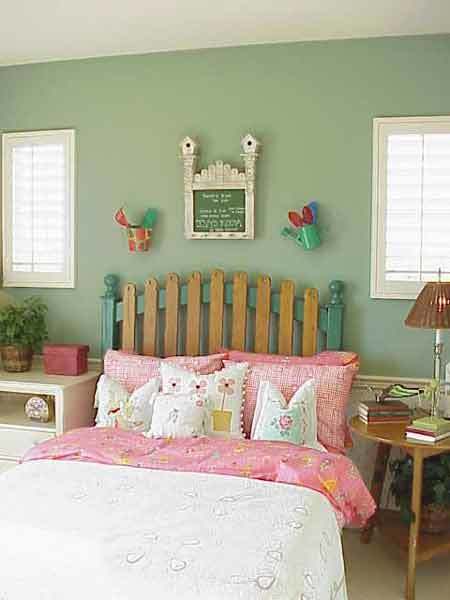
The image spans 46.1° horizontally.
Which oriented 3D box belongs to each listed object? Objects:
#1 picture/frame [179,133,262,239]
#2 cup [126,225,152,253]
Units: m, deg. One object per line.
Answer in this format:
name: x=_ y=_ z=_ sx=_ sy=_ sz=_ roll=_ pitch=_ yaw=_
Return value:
picture/frame: x=-0.005 y=-0.614 z=2.868 sx=0.647 sy=0.707 sz=0.125 roll=0 pitch=2 yaw=11
cup: x=-0.480 y=-0.340 z=2.945 sx=0.144 sy=0.103 sz=0.137 roll=0 pitch=0 yaw=0
